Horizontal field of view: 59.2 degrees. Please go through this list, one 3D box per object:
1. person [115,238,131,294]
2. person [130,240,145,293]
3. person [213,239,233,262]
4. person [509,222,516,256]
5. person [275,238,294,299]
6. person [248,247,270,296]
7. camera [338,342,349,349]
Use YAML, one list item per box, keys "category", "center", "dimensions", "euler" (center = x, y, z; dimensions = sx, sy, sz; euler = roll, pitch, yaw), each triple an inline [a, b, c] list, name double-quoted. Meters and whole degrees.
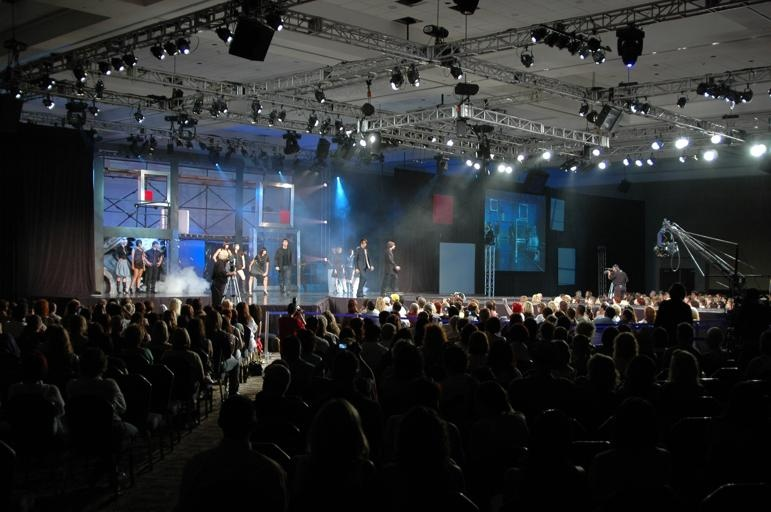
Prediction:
- category: "person"
  center: [-9.254, 0.387, 23.922]
  dimensions: [0.557, 1.906, 0.986]
  euler: [3, 0, -21]
- category: "person"
  center: [-8.631, 0.348, 23.669]
  dimensions: [0.497, 1.900, 1.026]
  euler: [3, 0, -22]
- category: "person"
  center: [-5.339, -0.186, 22.058]
  dimensions: [0.356, 0.297, 0.813]
  euler: [13, -35, -22]
- category: "person"
  center: [5.349, -0.706, 28.535]
  dimensions: [0.322, 1.337, 0.429]
  euler: [3, 0, 10]
- category: "person"
  center: [-3.406, 0.349, 22.734]
  dimensions: [0.577, 1.874, 0.895]
  euler: [3, 0, 20]
- category: "person"
  center: [-4.139, 0.523, 21.976]
  dimensions: [0.605, 1.598, 1.368]
  euler: [3, 0, -11]
- category: "camera"
  center: [-0.611, 1.282, 9.748]
  dimensions: [0.075, 0.092, 0.137]
  euler: [10, -12, -35]
